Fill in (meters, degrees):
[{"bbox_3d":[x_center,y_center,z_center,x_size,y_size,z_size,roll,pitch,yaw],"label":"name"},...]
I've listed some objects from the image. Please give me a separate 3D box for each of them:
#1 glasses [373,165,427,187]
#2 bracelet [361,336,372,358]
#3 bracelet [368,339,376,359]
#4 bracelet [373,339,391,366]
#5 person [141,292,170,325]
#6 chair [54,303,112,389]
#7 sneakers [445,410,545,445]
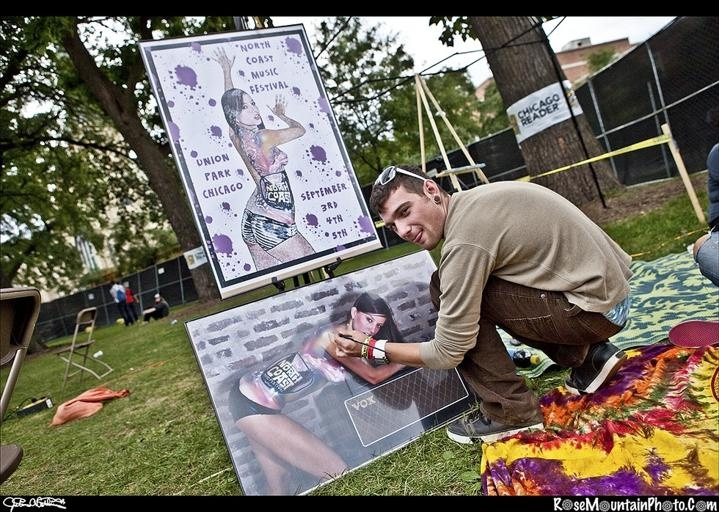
[{"bbox_3d":[0.215,-0.436,2.652,0.166,0.049,0.164,30,-24,-23],"label":"glasses"},{"bbox_3d":[0.047,0.542,2.856,0.048,0.102,0.087,26,-23,4],"label":"bracelet"},{"bbox_3d":[0.066,0.543,2.822,0.042,0.089,0.077,4,-15,5],"label":"bracelet"},{"bbox_3d":[0.120,0.566,2.809,0.096,0.140,0.128,15,-24,-36],"label":"bracelet"},{"bbox_3d":[-5.821,1.466,13.498,0.650,0.845,1.145,-19,5,-42],"label":"person"},{"bbox_3d":[-4.374,1.367,7.275,0.694,0.975,0.742,-8,7,42],"label":"chair"},{"bbox_3d":[0.789,0.982,2.782,0.535,0.233,0.202,-1,1,24],"label":"sneakers"}]
